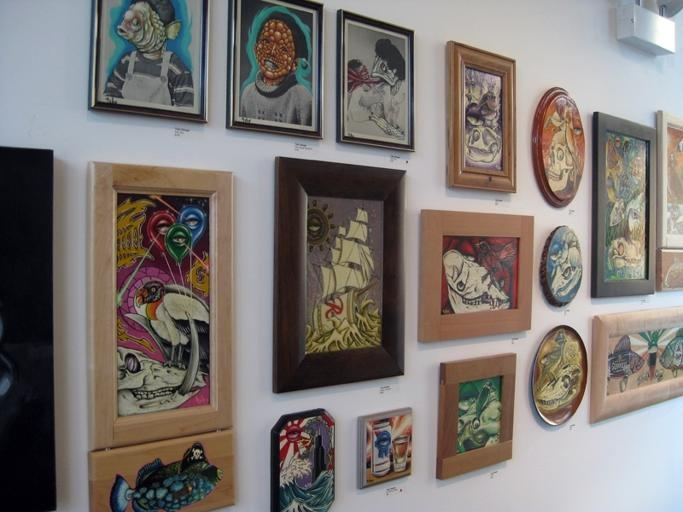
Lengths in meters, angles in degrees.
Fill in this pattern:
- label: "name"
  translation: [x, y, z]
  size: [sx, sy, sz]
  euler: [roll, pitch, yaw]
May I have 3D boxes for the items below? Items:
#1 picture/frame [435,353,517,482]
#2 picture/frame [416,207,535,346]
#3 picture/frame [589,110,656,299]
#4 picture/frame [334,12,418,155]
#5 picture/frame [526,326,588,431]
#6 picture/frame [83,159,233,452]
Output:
- label: "picture/frame"
  translation: [0.459, 0.550, 2.139]
  size: [0.405, 0.570, 0.037]
  euler: [-1, 3, -36]
- label: "picture/frame"
  translation: [0.447, 0.066, 2.121]
  size: [0.410, 0.432, 0.029]
  euler: [-1, 3, -29]
- label: "picture/frame"
  translation: [1.154, -0.211, 2.547]
  size: [0.628, 1.012, 0.040]
  euler: [5, -4, -42]
- label: "picture/frame"
  translation: [0.099, -0.544, 1.939]
  size: [0.376, 0.592, 0.040]
  euler: [2, -3, -33]
- label: "picture/frame"
  translation: [0.843, 0.449, 2.377]
  size: [0.319, 0.370, 0.038]
  euler: [-3, 2, -36]
- label: "picture/frame"
  translation: [-0.488, 0.144, 1.710]
  size: [0.376, 0.831, 0.055]
  euler: [-2, 18, -23]
